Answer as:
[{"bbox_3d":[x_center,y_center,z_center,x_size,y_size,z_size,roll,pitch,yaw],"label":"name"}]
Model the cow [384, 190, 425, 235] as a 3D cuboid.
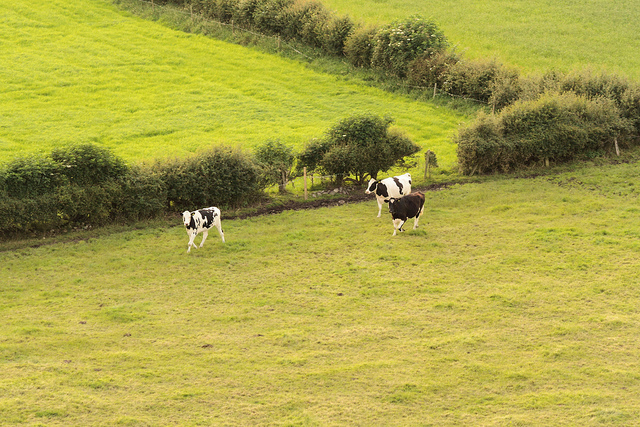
[{"bbox_3d":[6.915,0.041,114.268,3.429,3.198,1.402,-10,9,-41],"label":"cow"}]
